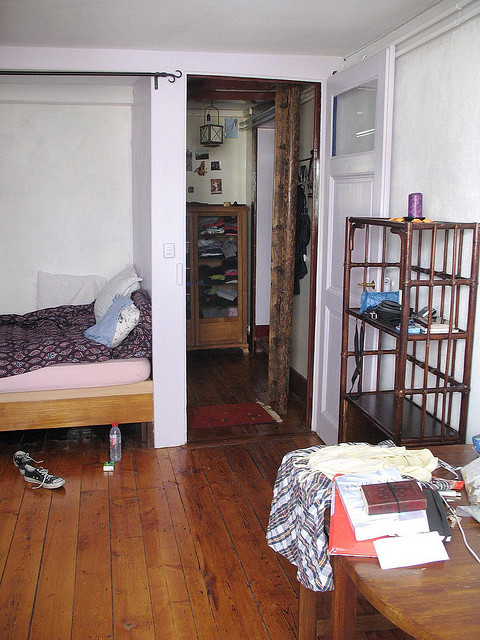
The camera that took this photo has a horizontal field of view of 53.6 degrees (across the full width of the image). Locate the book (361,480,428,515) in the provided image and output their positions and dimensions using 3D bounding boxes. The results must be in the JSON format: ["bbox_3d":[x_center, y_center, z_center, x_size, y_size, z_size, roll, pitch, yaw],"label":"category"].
[{"bbox_3d":[0.352,0.400,1.081,0.078,0.025,0.080,-2,8,-3],"label":"book"}]

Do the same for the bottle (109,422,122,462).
[{"bbox_3d":[-0.844,0.813,3.235,0.073,0.253,0.160,-1,7,-15],"label":"bottle"}]

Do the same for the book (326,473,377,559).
[{"bbox_3d":[0.229,0.432,1.056,0.084,0.022,0.152,-1,23,2],"label":"book"}]

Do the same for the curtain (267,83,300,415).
[{"bbox_3d":[0.362,-0.547,3.958,0.204,2.675,0.320,1,6,4],"label":"curtain"}]

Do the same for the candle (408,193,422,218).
[{"bbox_3d":[0.791,-0.520,2.142,0.054,0.114,0.088,3,7,18],"label":"candle"}]
